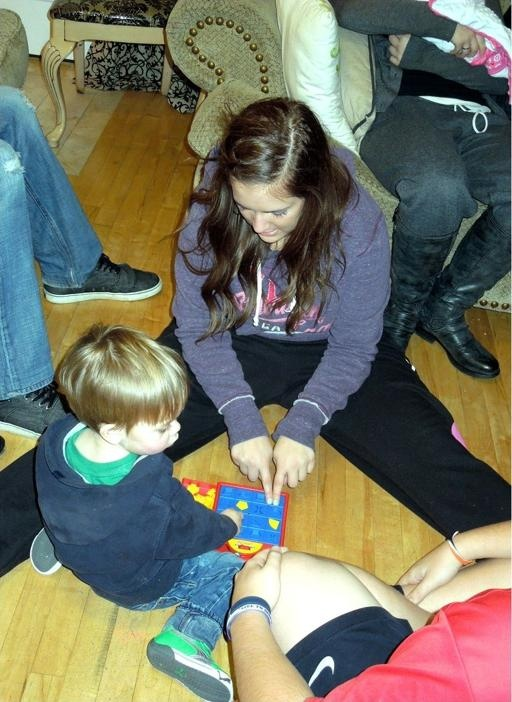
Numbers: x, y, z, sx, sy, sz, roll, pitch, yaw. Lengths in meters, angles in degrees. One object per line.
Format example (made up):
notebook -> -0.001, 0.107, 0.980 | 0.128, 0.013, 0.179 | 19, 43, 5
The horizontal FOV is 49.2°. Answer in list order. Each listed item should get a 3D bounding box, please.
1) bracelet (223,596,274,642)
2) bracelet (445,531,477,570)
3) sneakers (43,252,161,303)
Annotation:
bracelet -> -0.015, 0.409, 0.874 | 0.059, 0.062, 0.071 | 14, 65, -10
bracelet -> 0.406, 0.402, 1.144 | 0.021, 0.056, 0.072 | -29, 49, -32
sneakers -> -0.479, -0.225, 1.880 | 0.439, 0.177, 0.134 | -3, 63, -12
